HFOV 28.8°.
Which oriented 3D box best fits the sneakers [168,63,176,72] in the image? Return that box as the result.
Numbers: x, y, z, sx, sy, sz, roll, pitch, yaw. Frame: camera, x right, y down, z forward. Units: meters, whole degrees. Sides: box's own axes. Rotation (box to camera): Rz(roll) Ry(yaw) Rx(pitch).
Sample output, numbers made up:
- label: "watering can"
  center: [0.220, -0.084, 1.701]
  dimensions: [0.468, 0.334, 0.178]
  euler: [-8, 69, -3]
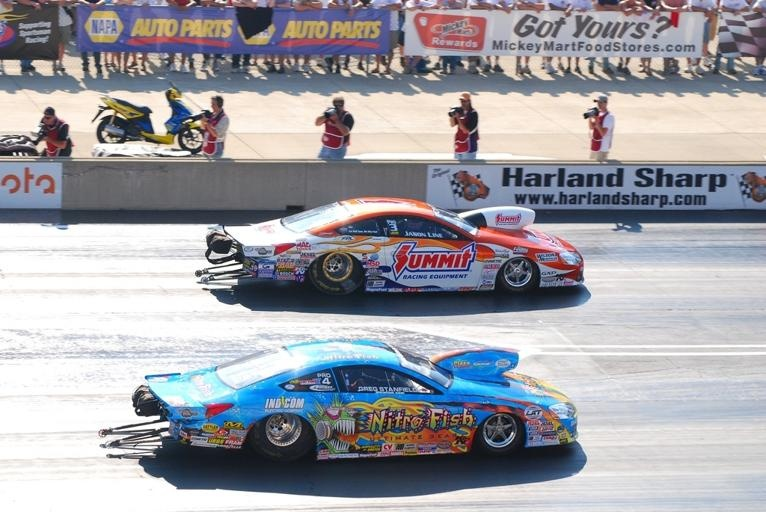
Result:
- label: "sneakers"
  center: [-5.655, -5.097, 40.218]
  dimensions: [0.200, 0.222, 0.144]
  euler: [-3, 21, -9]

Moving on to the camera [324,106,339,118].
- label: "camera"
  center: [-1.123, -3.133, 32.294]
  dimensions: [0.233, 0.263, 0.328]
  euler: [-6, 19, -17]

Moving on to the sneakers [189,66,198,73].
- label: "sneakers"
  center: [-5.115, -5.039, 40.241]
  dimensions: [0.140, 0.137, 0.257]
  euler: [9, 18, 23]

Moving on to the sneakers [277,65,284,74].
- label: "sneakers"
  center: [-2.805, -5.146, 40.812]
  dimensions: [0.226, 0.244, 0.238]
  euler: [-1, 19, -4]

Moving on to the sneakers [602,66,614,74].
- label: "sneakers"
  center: [6.464, -5.328, 42.680]
  dimensions: [0.364, 0.120, 0.164]
  euler: [13, 30, -32]

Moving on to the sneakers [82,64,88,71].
- label: "sneakers"
  center: [-7.884, -4.994, 39.575]
  dimensions: [0.159, 0.171, 0.238]
  euler: [-3, 18, -9]

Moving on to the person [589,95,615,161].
- label: "person"
  center: [4.917, -2.897, 33.647]
  dimensions: [0.518, 1.505, 0.771]
  euler: [3, 21, 7]

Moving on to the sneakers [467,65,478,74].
- label: "sneakers"
  center: [2.527, -5.280, 42.061]
  dimensions: [0.357, 0.209, 0.276]
  euler: [-2, 16, -7]

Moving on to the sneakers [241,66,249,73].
- label: "sneakers"
  center: [-3.739, -5.085, 40.605]
  dimensions: [0.284, 0.163, 0.152]
  euler: [3, 2, -2]

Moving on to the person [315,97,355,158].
- label: "person"
  center: [-1.060, -2.800, 32.530]
  dimensions: [0.802, 1.431, 0.699]
  euler: [0, 21, -2]

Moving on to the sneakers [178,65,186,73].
- label: "sneakers"
  center: [-5.367, -5.057, 40.163]
  dimensions: [0.191, 0.196, 0.122]
  euler: [11, 23, 27]

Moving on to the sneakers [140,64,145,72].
- label: "sneakers"
  center: [-6.403, -5.057, 39.934]
  dimensions: [0.173, 0.198, 0.257]
  euler: [3, 21, 9]

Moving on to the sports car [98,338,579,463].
- label: "sports car"
  center: [-0.491, 2.356, 24.389]
  dimensions: [8.030, 1.197, 2.452]
  euler: [-1, 12, -9]

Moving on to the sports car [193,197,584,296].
- label: "sports car"
  center: [0.091, -0.129, 28.708]
  dimensions: [7.413, 1.093, 2.407]
  euler: [-1, 11, -9]

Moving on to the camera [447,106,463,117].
- label: "camera"
  center: [1.625, -3.242, 33.377]
  dimensions: [0.282, 0.234, 0.407]
  euler: [0, 17, 0]

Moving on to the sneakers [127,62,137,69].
- label: "sneakers"
  center: [-6.692, -5.129, 39.988]
  dimensions: [0.225, 0.219, 0.212]
  euler: [-2, 19, -8]

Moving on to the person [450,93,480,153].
- label: "person"
  center: [1.801, -2.939, 33.372]
  dimensions: [0.633, 1.517, 0.432]
  euler: [1, 22, 2]

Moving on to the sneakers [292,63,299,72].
- label: "sneakers"
  center: [-2.395, -5.199, 40.880]
  dimensions: [0.191, 0.214, 0.062]
  euler: [-1, 35, 10]

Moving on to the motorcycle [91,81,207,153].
- label: "motorcycle"
  center: [-5.329, -3.134, 34.176]
  dimensions: [2.887, 1.180, 0.936]
  euler: [1, -1, -39]

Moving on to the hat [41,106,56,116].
- label: "hat"
  center: [-7.140, -3.100, 32.019]
  dimensions: [0.229, 0.220, 0.375]
  euler: [-2, 17, -8]

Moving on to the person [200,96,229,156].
- label: "person"
  center: [-3.629, -2.800, 32.312]
  dimensions: [0.542, 1.382, 0.824]
  euler: [-2, 21, -6]

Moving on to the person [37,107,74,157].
- label: "person"
  center: [-7.128, -2.675, 32.101]
  dimensions: [0.674, 1.095, 0.606]
  euler: [18, 27, 38]
